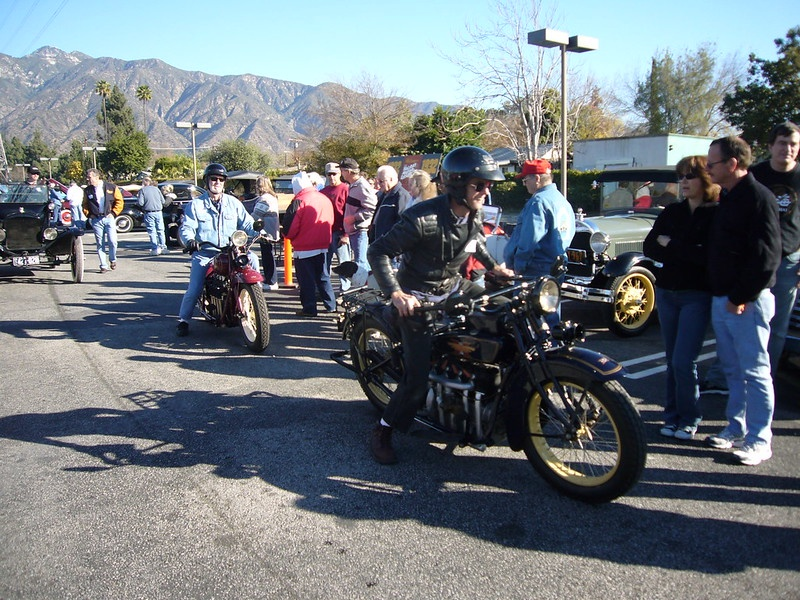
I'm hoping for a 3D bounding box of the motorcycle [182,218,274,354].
[{"bbox_3d":[-2.015,-0.144,8.392,0.788,1.105,1.595,1,6,-28],"label":"motorcycle"}]

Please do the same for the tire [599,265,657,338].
[{"bbox_3d":[2.895,-0.017,8.697,0.703,0.855,0.266,-11,20,-36],"label":"tire"}]

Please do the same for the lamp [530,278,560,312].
[{"bbox_3d":[1.061,-0.035,4.891,0.252,0.250,0.094,-4,9,-33],"label":"lamp"}]

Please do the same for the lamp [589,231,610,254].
[{"bbox_3d":[2.645,-0.768,9.095,0.255,0.282,0.151,21,19,34],"label":"lamp"}]

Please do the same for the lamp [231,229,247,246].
[{"bbox_3d":[-1.907,-0.738,8.124,0.068,0.179,0.159,13,51,45],"label":"lamp"}]

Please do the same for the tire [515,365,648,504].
[{"bbox_3d":[1.348,0.933,4.998,0.848,1.019,0.601,4,8,22],"label":"tire"}]
